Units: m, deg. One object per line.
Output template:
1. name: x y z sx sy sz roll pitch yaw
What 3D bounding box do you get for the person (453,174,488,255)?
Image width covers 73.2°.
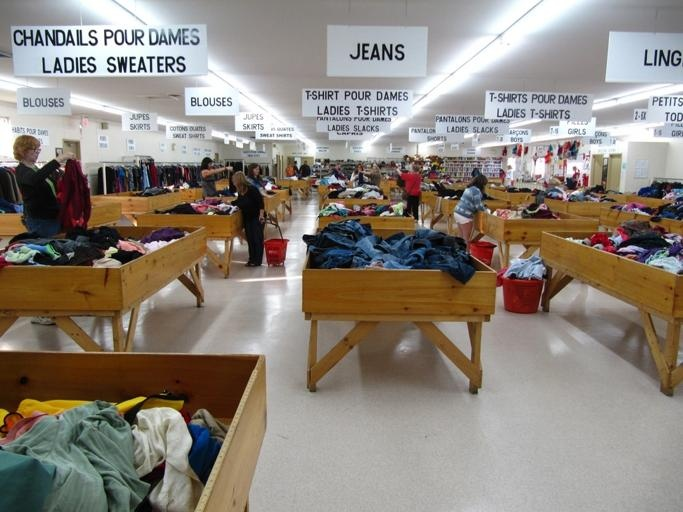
1. person: 2.448 -0.731 8.656 0.701 1.563 0.531 -4 25 -4

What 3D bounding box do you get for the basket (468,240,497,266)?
1. basket: 2.197 -0.036 7.196 0.405 0.333 0.426 6 11 44

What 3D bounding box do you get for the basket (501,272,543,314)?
1. basket: 2.242 0.475 5.806 0.438 0.342 0.452 1 5 1

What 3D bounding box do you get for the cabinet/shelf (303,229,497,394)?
1. cabinet/shelf: 0.474 0.303 4.049 1.034 0.691 1.583 1 8 2
